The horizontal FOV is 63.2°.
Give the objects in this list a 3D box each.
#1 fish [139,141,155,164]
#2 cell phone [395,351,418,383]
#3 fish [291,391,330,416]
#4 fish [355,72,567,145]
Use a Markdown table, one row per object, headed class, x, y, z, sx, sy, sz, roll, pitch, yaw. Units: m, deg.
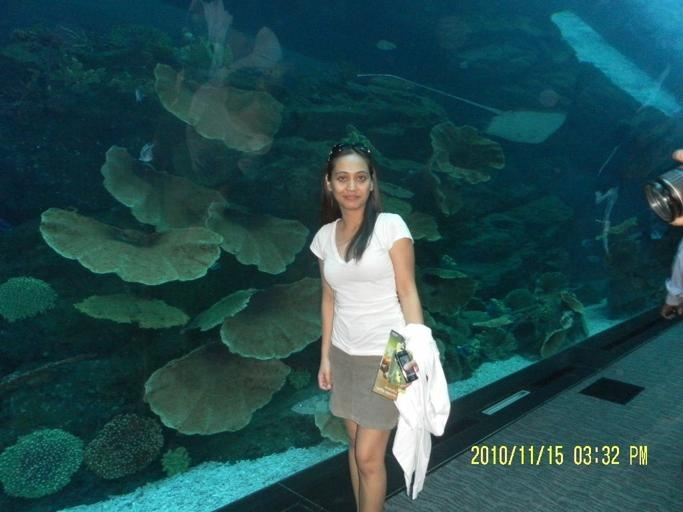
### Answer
| class | x | y | z | sx | sy | sz | roll | pitch | yaw |
| --- | --- | --- | --- | --- | --- | --- | --- | --- | --- |
| fish | -1.133 | -0.611 | 3.240 | 0.098 | 0.105 | 0.028 | 10 | -1 | -35 |
| cell phone | 0.323 | 0.546 | 2.720 | 0.107 | 0.038 | 0.148 | -15 | 82 | -24 |
| fish | -0.194 | 1.038 | 3.856 | 0.298 | 0.106 | 0.028 | -5 | 5 | -32 |
| fish | 1.376 | -1.243 | 4.916 | 2.210 | 0.406 | 0.267 | -4 | 45 | -31 |
